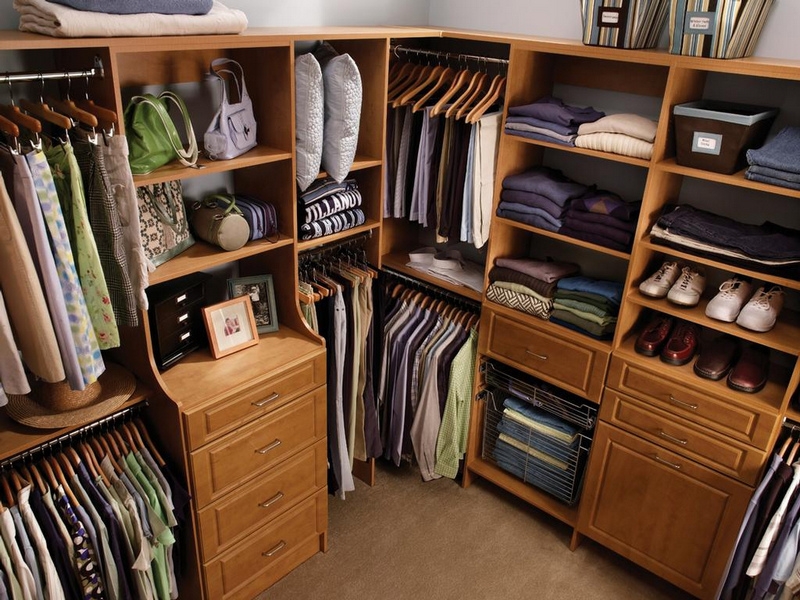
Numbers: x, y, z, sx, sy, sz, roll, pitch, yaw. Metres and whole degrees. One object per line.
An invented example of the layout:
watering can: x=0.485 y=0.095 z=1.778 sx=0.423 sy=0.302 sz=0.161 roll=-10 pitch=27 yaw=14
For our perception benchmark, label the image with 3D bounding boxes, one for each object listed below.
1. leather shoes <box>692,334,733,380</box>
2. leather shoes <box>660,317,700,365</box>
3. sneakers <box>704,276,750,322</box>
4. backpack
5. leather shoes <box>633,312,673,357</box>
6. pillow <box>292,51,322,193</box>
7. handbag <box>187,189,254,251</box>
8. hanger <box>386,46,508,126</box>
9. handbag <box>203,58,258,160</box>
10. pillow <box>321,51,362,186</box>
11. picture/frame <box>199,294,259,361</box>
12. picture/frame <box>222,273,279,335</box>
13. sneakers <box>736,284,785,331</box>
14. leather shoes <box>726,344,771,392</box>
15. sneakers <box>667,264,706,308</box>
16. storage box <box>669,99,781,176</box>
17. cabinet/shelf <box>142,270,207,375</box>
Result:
leather shoes: x=1.567 y=0.282 z=2.934 sx=0.118 sy=0.110 sz=0.342 roll=14 pitch=27 yaw=32
leather shoes: x=1.451 y=0.196 z=3.053 sx=0.118 sy=0.141 sz=0.347 roll=17 pitch=33 yaw=23
sneakers: x=1.548 y=-0.004 z=2.796 sx=0.116 sy=0.136 sz=0.359 roll=22 pitch=32 yaw=24
backpack: x=-1.030 y=-0.323 z=2.584 sx=0.137 sy=0.341 sz=0.341 roll=3 pitch=24 yaw=29
leather shoes: x=1.318 y=0.181 z=3.124 sx=0.120 sy=0.139 sz=0.367 roll=26 pitch=44 yaw=25
pillow: x=-0.435 y=-0.828 z=2.807 sx=0.145 sy=0.642 sz=0.108 roll=-4 pitch=29 yaw=-8
handbag: x=-0.827 y=-0.449 z=2.776 sx=0.245 sy=0.272 sz=0.361 roll=-11 pitch=27 yaw=-38
hanger: x=0.225 y=-1.175 z=3.212 sx=0.630 sy=0.263 sz=0.508 roll=19 pitch=43 yaw=16
handbag: x=-0.768 y=-0.886 z=2.710 sx=0.198 sy=0.424 sz=0.360 roll=14 pitch=29 yaw=12
pillow: x=-0.294 y=-0.930 z=2.923 sx=0.190 sy=0.594 sz=0.573 roll=0 pitch=16 yaw=-5
picture/frame: x=-0.842 y=0.148 z=2.905 sx=0.017 sy=0.265 sz=0.251 roll=9 pitch=22 yaw=42
picture/frame: x=-0.754 y=0.026 z=3.010 sx=0.252 sy=0.329 sz=0.030 roll=-14 pitch=15 yaw=-42
sneakers: x=1.661 y=0.041 z=2.717 sx=0.116 sy=0.126 sz=0.336 roll=17 pitch=34 yaw=27
leather shoes: x=1.690 y=0.319 z=2.850 sx=0.127 sy=0.120 sz=0.345 roll=11 pitch=25 yaw=29
sneakers: x=1.410 y=-0.068 z=2.908 sx=0.103 sy=0.122 sz=0.307 roll=21 pitch=29 yaw=18
storage box: x=1.439 y=-0.796 z=2.669 sx=0.334 sy=0.280 sz=0.442 roll=16 pitch=25 yaw=32
cabinet/shelf: x=-1.038 y=0.106 z=2.698 sx=0.168 sy=0.332 sz=0.349 roll=13 pitch=28 yaw=25
